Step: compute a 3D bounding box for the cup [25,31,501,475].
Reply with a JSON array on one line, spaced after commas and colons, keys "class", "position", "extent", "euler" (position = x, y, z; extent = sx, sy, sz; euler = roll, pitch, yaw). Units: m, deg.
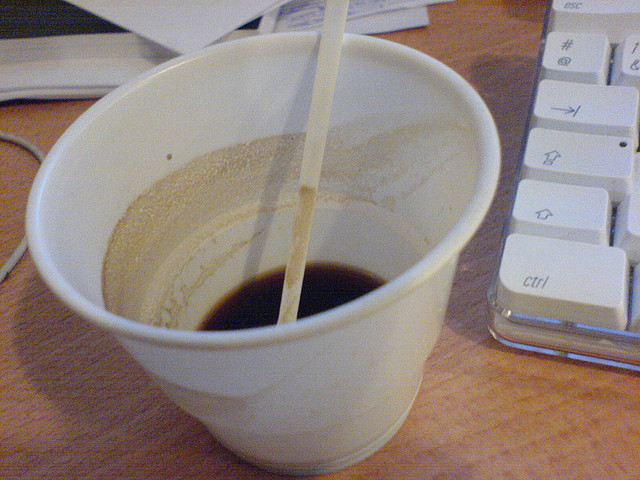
[{"class": "cup", "position": [-0.029, 0.004, 0.365], "extent": [0.234, 0.183, 0.227], "euler": [-1, 49, 1]}]

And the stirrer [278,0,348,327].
[{"class": "stirrer", "position": [-0.018, -0.016, 0.346], "extent": [0.025, 0.243, 0.006], "euler": [0, 37, -23]}]
